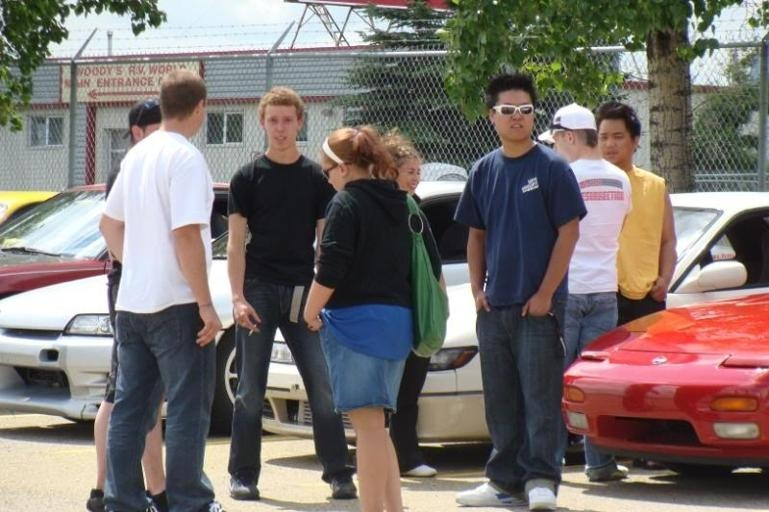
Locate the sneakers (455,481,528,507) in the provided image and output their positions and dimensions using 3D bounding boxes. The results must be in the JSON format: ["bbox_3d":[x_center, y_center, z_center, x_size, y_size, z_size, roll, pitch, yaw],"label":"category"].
[{"bbox_3d":[0.753,1.694,7.843,0.511,0.202,0.185,5,-6,-14],"label":"sneakers"}]

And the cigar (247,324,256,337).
[{"bbox_3d":[-0.982,0.551,8.062,0.069,0.069,0.018,46,-4,-38],"label":"cigar"}]

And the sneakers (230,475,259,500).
[{"bbox_3d":[-1.030,1.690,7.979,0.223,0.140,0.173,-1,5,-3],"label":"sneakers"}]

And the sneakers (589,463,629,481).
[{"bbox_3d":[1.697,1.647,8.267,0.273,0.112,0.128,-6,7,-17],"label":"sneakers"}]

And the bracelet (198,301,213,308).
[{"bbox_3d":[-1.174,0.318,7.174,0.106,0.042,0.083,-3,5,-29],"label":"bracelet"}]

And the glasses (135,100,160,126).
[{"bbox_3d":[-1.751,-1.064,8.082,0.176,0.212,0.229,-9,31,-10],"label":"glasses"}]

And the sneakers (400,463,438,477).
[{"bbox_3d":[0.262,1.648,8.403,0.274,0.082,0.101,-3,-5,10],"label":"sneakers"}]

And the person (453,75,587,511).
[{"bbox_3d":[0.969,0.236,7.749,0.890,3.060,0.568,1,4,16],"label":"person"}]

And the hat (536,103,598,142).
[{"bbox_3d":[1.419,-1.038,8.532,0.394,0.240,0.281,3,4,24],"label":"hat"}]
